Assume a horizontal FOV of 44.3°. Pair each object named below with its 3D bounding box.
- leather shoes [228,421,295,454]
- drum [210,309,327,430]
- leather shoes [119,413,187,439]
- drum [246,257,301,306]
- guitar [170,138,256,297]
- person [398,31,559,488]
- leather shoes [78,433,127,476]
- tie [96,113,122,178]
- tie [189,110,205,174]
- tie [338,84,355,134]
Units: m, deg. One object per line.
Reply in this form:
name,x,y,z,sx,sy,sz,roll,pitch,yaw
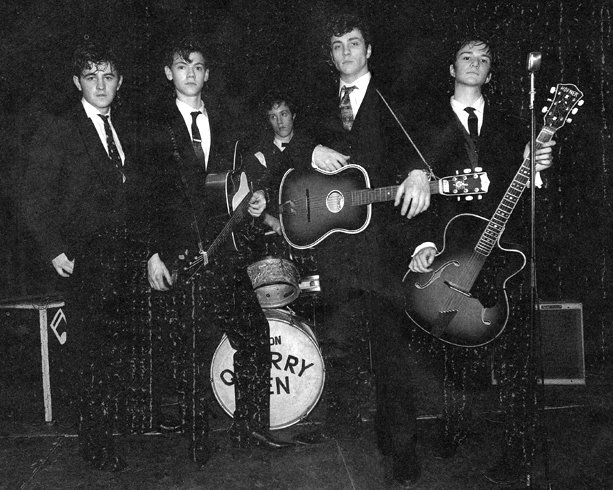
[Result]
leather shoes,-0.219,0.950,3.730,0.296,0.143,0.045,11,7,9
drum,-0.194,0.620,3.687,0.556,0.380,0.423,-14,48,-11
leather shoes,-0.775,0.893,3.791,0.308,0.144,0.049,1,-2,7
drum,-0.165,0.179,3.686,0.241,0.209,0.160,-8,46,-6
guitar,-0.426,-0.132,3.741,0.097,0.339,0.748,14,64,35
person,0.865,0.024,3.653,0.718,2.118,0.258,7,4,21
leather shoes,-1.009,1.040,3.781,0.159,0.235,0.052,-8,1,7
tie,-0.974,-0.497,3.702,0.103,0.294,0.039,-9,9,0
tie,-0.546,-0.517,3.740,0.090,0.266,0.037,-3,6,4
tie,0.195,-0.679,3.706,0.094,0.226,0.035,1,11,8
